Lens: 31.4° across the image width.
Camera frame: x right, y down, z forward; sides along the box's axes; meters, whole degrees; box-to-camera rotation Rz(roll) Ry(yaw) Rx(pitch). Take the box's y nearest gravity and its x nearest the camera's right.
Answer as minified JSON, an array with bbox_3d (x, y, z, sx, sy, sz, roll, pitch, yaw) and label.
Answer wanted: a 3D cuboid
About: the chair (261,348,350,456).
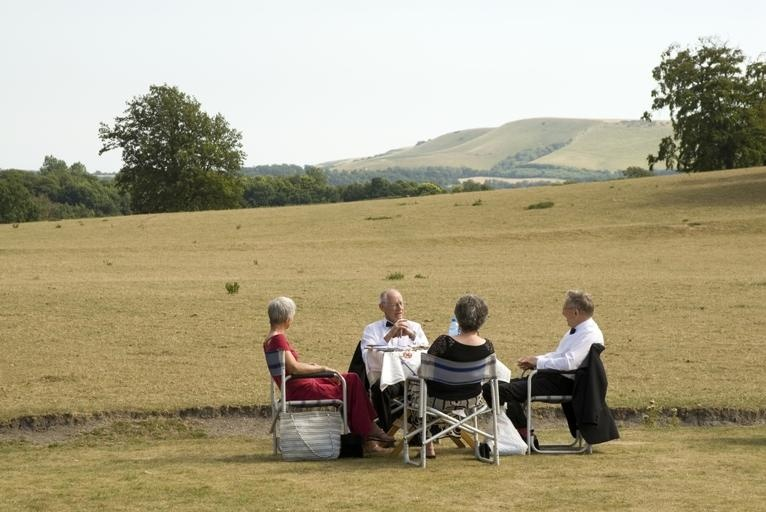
[{"bbox_3d":[-2.433,4.307,42.421,2.032,3.611,1.510,0,0,-5],"label":"chair"}]
